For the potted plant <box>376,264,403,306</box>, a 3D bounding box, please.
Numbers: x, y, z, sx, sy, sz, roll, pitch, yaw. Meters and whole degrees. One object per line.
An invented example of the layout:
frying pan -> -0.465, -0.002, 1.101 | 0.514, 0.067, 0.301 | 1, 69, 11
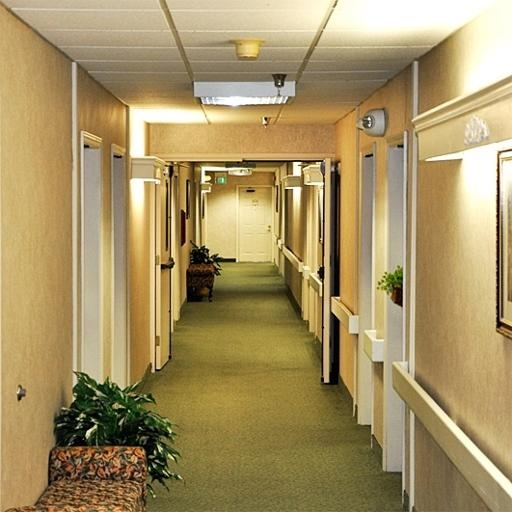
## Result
potted plant -> 0.978, 0.212, 3.422 | 0.156, 0.299, 0.574 | 1, 2, 14

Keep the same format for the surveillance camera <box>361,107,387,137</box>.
surveillance camera -> 0.886, -1.004, 3.610 | 0.187, 0.219, 0.209 | 0, -11, 1

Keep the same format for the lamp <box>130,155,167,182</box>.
lamp -> -1.164, -0.955, 5.133 | 0.206, 0.256, 0.475 | 1, 2, 26

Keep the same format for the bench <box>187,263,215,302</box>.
bench -> -1.342, 0.563, 11.677 | 0.636, 0.843, 1.143 | -1, 5, -2
